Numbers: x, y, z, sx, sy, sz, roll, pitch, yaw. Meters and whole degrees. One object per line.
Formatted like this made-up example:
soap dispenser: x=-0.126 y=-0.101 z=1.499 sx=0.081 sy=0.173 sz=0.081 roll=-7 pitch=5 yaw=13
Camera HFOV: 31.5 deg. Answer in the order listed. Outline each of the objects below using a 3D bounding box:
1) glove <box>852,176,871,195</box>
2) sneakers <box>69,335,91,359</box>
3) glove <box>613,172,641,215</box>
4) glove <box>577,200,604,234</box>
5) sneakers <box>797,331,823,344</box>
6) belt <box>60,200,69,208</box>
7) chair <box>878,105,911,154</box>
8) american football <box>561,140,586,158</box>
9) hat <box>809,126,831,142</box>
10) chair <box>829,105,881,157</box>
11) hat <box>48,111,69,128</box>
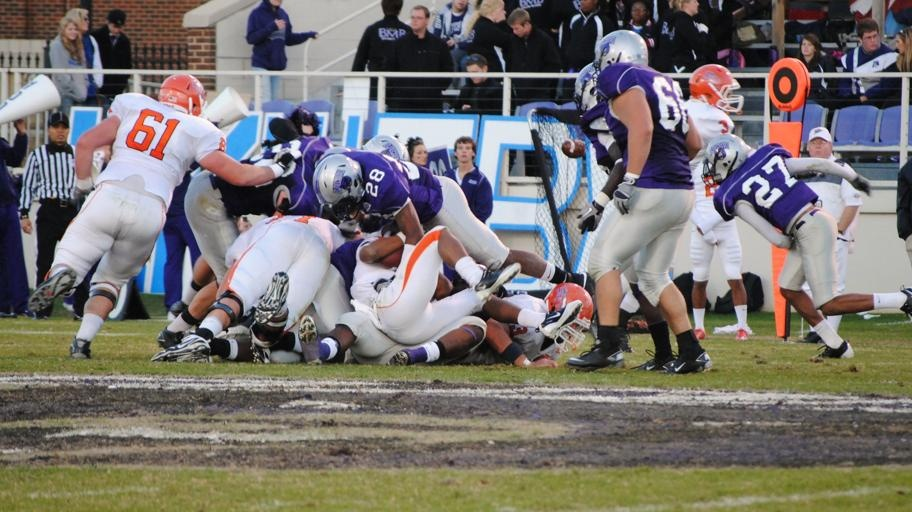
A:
glove: x=4.833 y=-0.859 z=19.119 sx=0.276 sy=0.227 sz=0.235 roll=0 pitch=-2 yaw=-7
sneakers: x=-4.195 y=1.005 z=18.071 sx=0.296 sy=0.259 sz=0.171 roll=5 pitch=2 yaw=-17
glove: x=1.851 y=-0.705 z=17.551 sx=0.270 sy=0.427 sz=0.146 roll=50 pitch=18 yaw=22
glove: x=1.493 y=-0.449 z=17.809 sx=0.369 sy=0.220 sz=0.151 roll=-46 pitch=-29 yaw=25
sneakers: x=4.478 y=1.019 z=20.595 sx=0.330 sy=0.208 sz=0.116 roll=-1 pitch=-7 yaw=33
belt: x=-5.314 y=-0.748 z=22.026 sx=0.036 sy=0.097 sz=0.152 roll=2 pitch=1 yaw=42
chair: x=6.192 y=-1.880 z=23.028 sx=0.501 sy=0.651 sz=0.575 roll=8 pitch=6 yaw=7
american football: x=1.368 y=-1.260 z=18.788 sx=0.270 sy=0.148 sz=0.170 roll=-4 pitch=9 yaw=-22
hat: x=4.704 y=-1.610 z=20.890 sx=0.247 sy=0.174 sz=0.337 roll=-3 pitch=-6 yaw=21
chair: x=5.599 y=-1.662 z=22.750 sx=0.795 sy=0.895 sz=0.798 roll=5 pitch=2 yaw=3
hat: x=-5.419 y=-1.874 z=22.134 sx=0.254 sy=0.211 sz=0.398 roll=3 pitch=-10 yaw=-25
